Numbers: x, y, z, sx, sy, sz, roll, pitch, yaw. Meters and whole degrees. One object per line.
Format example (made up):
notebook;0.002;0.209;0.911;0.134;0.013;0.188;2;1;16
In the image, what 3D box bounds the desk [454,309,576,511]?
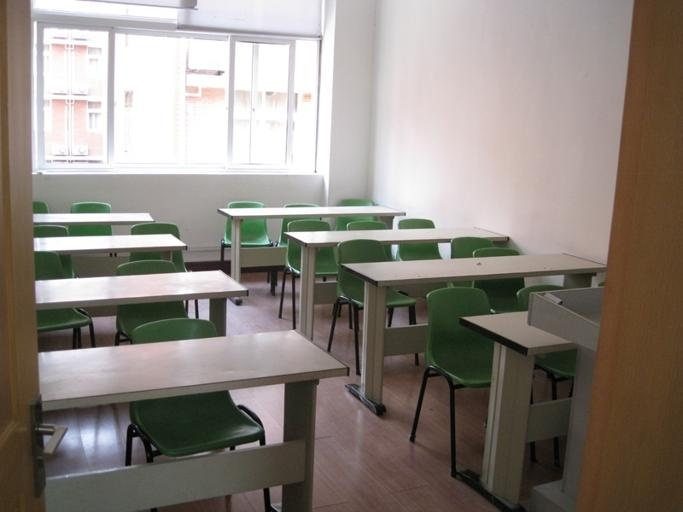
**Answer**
desk;0.903;0.791;2.963;0.454;0.880;0.511;-6;15;-33
